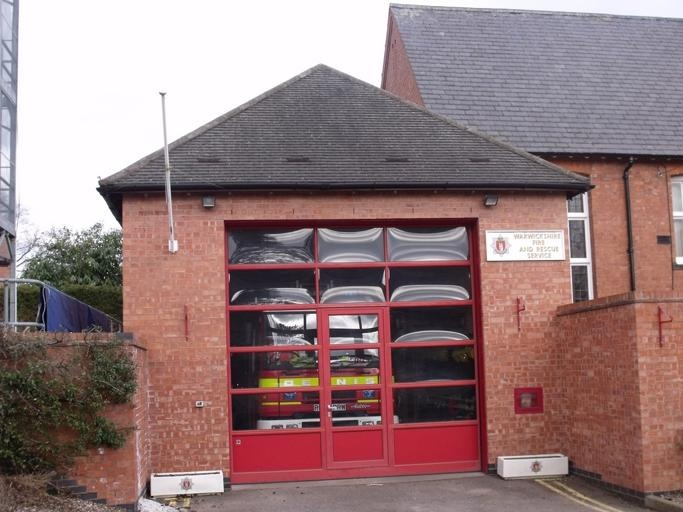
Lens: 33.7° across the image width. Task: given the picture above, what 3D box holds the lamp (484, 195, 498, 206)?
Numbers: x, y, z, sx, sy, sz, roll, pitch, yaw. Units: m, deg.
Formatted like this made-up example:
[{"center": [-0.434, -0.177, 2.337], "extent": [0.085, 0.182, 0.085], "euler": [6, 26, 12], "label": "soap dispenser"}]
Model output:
[{"center": [3.266, -1.234, 24.620], "extent": [0.278, 0.254, 0.222], "euler": [2, -1, -1], "label": "lamp"}]

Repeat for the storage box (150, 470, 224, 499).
[{"center": [-3.194, 4.662, 23.235], "extent": [1.461, 0.440, 0.290], "euler": [-3, 12, -7], "label": "storage box"}]

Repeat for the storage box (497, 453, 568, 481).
[{"center": [4.123, 4.453, 24.076], "extent": [1.543, 0.438, 0.308], "euler": [-2, 12, -5], "label": "storage box"}]

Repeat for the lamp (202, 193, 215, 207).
[{"center": [-2.825, -1.204, 24.034], "extent": [0.318, 0.291, 0.228], "euler": [2, -1, 2], "label": "lamp"}]
